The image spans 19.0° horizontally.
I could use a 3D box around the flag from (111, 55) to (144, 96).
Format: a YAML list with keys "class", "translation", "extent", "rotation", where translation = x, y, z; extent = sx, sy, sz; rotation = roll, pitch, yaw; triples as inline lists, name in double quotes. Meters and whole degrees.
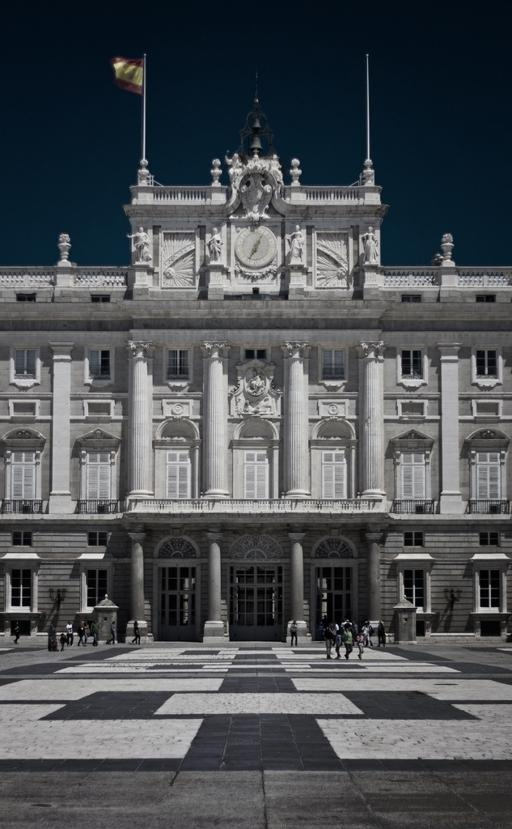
- class: "flag"
  translation: [-5.937, -16.036, 71.704]
  extent: [1.287, 1.705, 1.197]
  rotation: [0, -5, -6]

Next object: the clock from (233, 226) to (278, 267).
- class: "clock"
  translation: [-0.037, -7.707, 70.107]
  extent: [1.440, 1.945, 0.227]
  rotation: [0, -16, 1]

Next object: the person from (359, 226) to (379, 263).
- class: "person"
  translation: [5.156, -7.648, 69.660]
  extent: [0.778, 1.701, 0.918]
  rotation: [0, -5, -6]

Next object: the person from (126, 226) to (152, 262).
- class: "person"
  translation: [-5.257, -7.792, 69.691]
  extent: [0.858, 1.852, 0.997]
  rotation: [0, -5, -2]

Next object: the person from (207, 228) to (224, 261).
- class: "person"
  translation: [-1.839, -7.816, 69.516]
  extent: [0.717, 1.681, 0.663]
  rotation: [4, -7, -44]

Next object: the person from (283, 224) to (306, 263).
- class: "person"
  translation: [1.768, -7.803, 69.571]
  extent: [0.864, 2.012, 0.860]
  rotation: [0, -5, -2]
